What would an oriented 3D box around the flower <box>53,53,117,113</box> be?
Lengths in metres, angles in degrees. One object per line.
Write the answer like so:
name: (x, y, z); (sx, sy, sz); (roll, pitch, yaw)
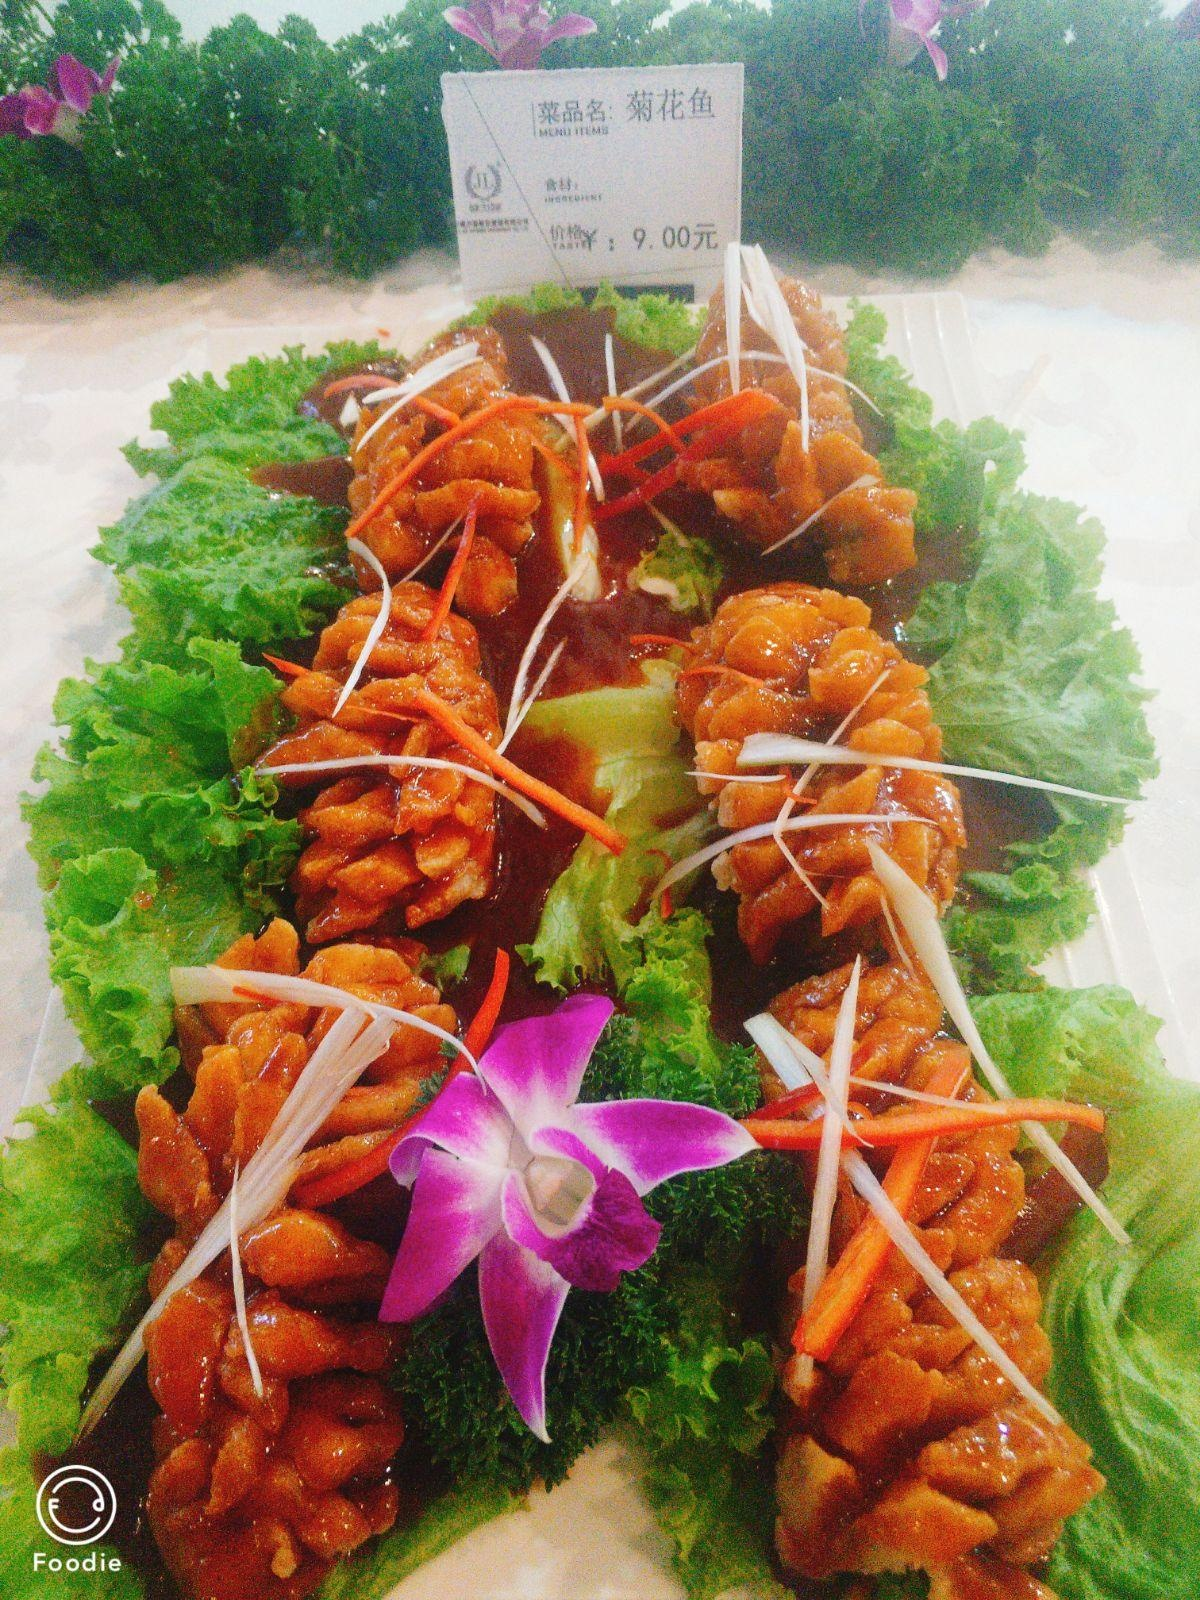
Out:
flower: (-1.126, -1.572, 2.773); (0.086, 0.099, 0.093); (34, 80, 8)
